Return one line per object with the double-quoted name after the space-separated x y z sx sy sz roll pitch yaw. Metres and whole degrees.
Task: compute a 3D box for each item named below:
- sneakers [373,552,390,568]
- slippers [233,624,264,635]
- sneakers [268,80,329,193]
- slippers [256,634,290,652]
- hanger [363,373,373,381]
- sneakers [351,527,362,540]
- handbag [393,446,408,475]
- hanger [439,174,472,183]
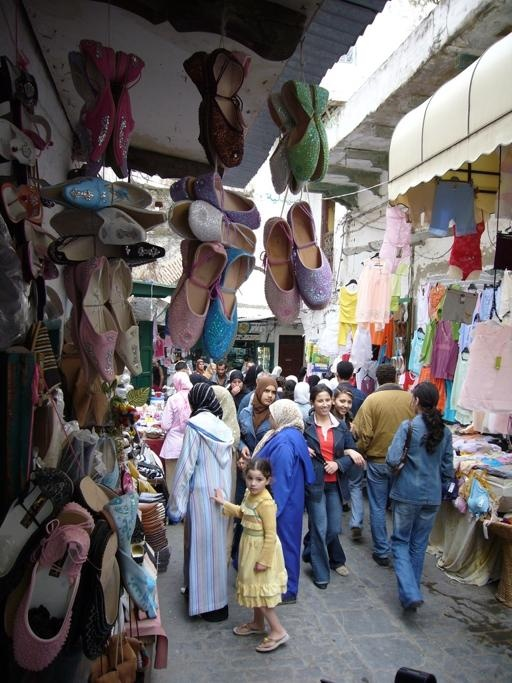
1.160 2.043 4.676 0.066 0.081 0.185 1 -5 -19 "sneakers"
-0.056 1.997 3.435 0.143 0.056 0.083 6 -5 -3 "slippers"
0.185 -0.723 1.836 0.217 0.402 0.133 11 27 43 "sneakers"
0.108 1.947 3.261 0.206 0.077 0.083 0 -10 -33 "slippers"
1.760 0.569 7.968 0.117 0.145 0.009 -2 29 -3 "hanger"
1.066 2.049 5.324 0.065 0.081 0.183 1 -4 3 "sneakers"
1.123 0.908 3.847 0.064 0.208 0.128 15 -6 8 "handbag"
1.659 -1.372 4.168 0.225 0.063 0.129 0 11 -6 "hanger"
